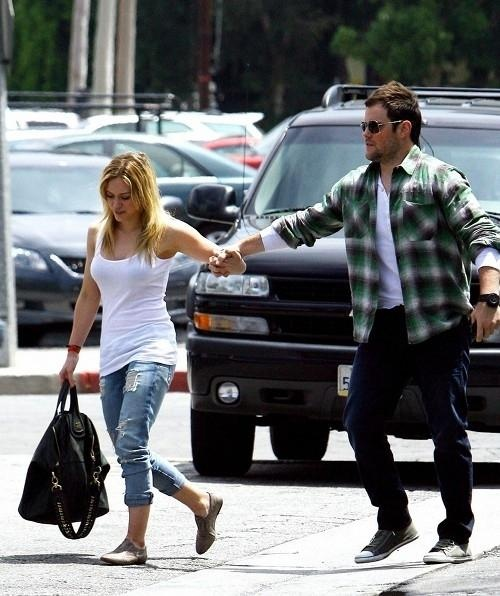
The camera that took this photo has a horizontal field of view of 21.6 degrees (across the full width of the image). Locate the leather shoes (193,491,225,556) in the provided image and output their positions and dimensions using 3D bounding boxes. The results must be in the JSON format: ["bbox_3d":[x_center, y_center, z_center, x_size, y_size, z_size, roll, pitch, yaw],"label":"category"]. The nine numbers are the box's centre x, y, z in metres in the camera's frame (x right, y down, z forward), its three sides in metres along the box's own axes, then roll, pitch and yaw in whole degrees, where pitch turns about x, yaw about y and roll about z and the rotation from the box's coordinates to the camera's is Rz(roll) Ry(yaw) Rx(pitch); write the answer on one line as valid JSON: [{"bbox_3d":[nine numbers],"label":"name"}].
[{"bbox_3d":[-0.148,0.848,4.969,0.105,0.229,0.078,18,-13,-39],"label":"leather shoes"}]

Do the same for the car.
[{"bbox_3d":[-1.491,-0.899,13.786,2.037,1.653,4.054,0,2,7],"label":"car"}]

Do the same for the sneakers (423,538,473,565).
[{"bbox_3d":[0.695,0.884,4.558,0.191,0.078,0.067,5,-10,-27],"label":"sneakers"}]

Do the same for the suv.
[{"bbox_3d":[0.586,-0.123,7.197,1.370,1.348,2.314,0,-2,11],"label":"suv"}]

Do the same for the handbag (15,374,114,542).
[{"bbox_3d":[-0.678,0.658,4.922,0.305,0.585,0.301,5,8,22],"label":"handbag"}]

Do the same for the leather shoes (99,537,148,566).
[{"bbox_3d":[-0.460,0.926,4.763,0.152,0.062,0.079,5,-5,-31],"label":"leather shoes"}]
